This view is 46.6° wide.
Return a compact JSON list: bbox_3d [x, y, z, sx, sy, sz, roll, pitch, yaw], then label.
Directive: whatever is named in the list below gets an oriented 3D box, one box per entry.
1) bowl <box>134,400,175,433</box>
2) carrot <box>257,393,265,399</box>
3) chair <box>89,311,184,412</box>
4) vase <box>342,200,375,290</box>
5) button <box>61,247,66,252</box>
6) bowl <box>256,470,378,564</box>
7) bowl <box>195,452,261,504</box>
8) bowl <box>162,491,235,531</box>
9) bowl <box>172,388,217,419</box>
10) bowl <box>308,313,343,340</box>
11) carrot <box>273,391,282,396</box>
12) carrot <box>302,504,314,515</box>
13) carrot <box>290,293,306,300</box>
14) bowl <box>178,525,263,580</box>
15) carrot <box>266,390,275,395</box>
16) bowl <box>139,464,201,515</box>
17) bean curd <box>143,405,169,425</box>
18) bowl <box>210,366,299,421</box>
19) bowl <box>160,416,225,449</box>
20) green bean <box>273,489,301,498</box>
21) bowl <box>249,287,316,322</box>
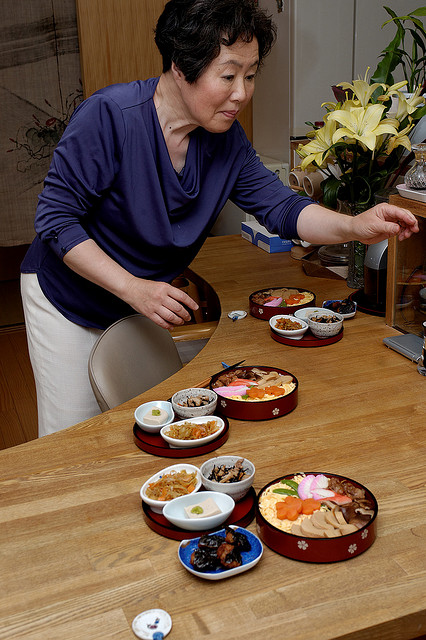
[{"bbox_3d":[-0.116,0.188,0.994,0.053,0.024,0.072,-4,20,-3],"label":"bowl"},{"bbox_3d":[0.097,0.155,1.013,0.009,0.003,0.009,-7,12,-11],"label":"carrot"},{"bbox_3d":[-0.204,0.106,1.279,0.184,0.225,0.171,30,46,30],"label":"chair"},{"bbox_3d":[0.472,-0.242,1.689,0.111,0.261,0.117,5,12,37],"label":"vase"},{"bbox_3d":[-0.370,-0.174,1.225,0.016,0.011,0.002,4,17,36],"label":"button"},{"bbox_3d":[0.137,0.266,0.673,0.158,0.050,0.159,-5,13,1],"label":"bowl"},{"bbox_3d":[0.020,0.232,0.754,0.069,0.036,0.067,-4,11,1],"label":"bowl"},{"bbox_3d":[-0.018,0.267,0.677,0.075,0.025,0.081,-5,6,1],"label":"bowl"},{"bbox_3d":[-0.038,0.157,0.986,0.063,0.032,0.064,-7,12,1],"label":"bowl"},{"bbox_3d":[0.304,0.008,1.347,0.078,0.045,0.077,-1,13,0],"label":"bowl"},{"bbox_3d":[0.133,0.152,1.024,0.014,0.007,0.010,-3,13,11],"label":"carrot"},{"bbox_3d":[0.127,0.253,0.661,0.012,0.007,0.011,-13,11,-32],"label":"carrot"},{"bbox_3d":[0.263,-0.074,1.544,0.028,0.009,0.027,-9,25,-6],"label":"carrot"},{"bbox_3d":[0.009,0.285,0.613,0.102,0.045,0.082,-8,13,-12],"label":"bowl"},{"bbox_3d":[0.119,0.150,1.027,0.009,0.003,0.010,18,25,41],"label":"carrot"},{"bbox_3d":[-0.071,0.254,0.768,0.059,0.025,0.084,10,26,25],"label":"bowl"},{"bbox_3d":[-0.112,0.185,0.962,0.026,0.015,0.035,8,24,4],"label":"bean curd"},{"bbox_3d":[0.085,0.156,1.067,0.188,0.068,0.173,-5,13,1],"label":"bowl"},{"bbox_3d":[-0.036,0.207,0.910,0.116,0.034,0.094,-6,13,-2],"label":"bowl"},{"bbox_3d":[0.103,0.246,0.707,0.034,0.002,0.010,7,21,26],"label":"green bean"},{"bbox_3d":[0.223,-0.050,1.547,0.195,0.073,0.219,-12,14,-27],"label":"bowl"}]
